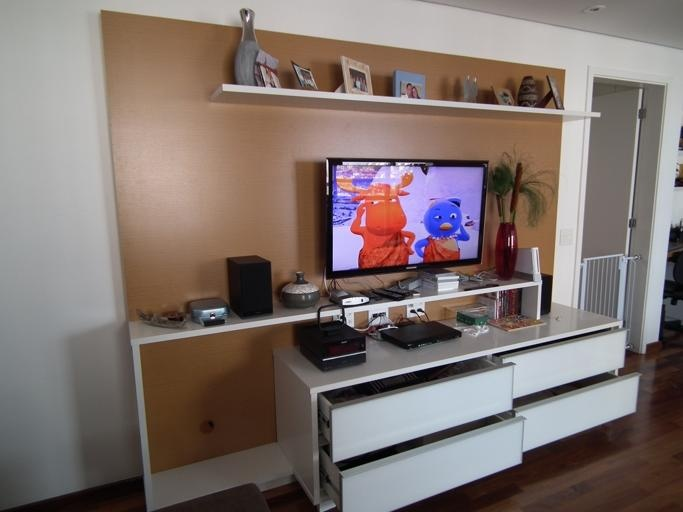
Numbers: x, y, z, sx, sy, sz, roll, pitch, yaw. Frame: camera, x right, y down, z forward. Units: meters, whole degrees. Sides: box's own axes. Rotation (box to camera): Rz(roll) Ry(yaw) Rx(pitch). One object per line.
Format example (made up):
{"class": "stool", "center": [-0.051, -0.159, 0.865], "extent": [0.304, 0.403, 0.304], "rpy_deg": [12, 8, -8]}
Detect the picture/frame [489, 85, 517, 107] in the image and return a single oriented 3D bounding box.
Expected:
{"class": "picture/frame", "center": [1.112, -1.112, 3.584], "extent": [0.221, 0.220, 0.022], "rpy_deg": [-16, 3, -40]}

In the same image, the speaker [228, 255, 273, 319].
{"class": "speaker", "center": [-0.533, 0.168, 3.005], "extent": [0.258, 0.319, 0.243], "rpy_deg": [-7, 12, -15]}

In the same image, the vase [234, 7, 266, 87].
{"class": "vase", "center": [-0.535, -1.153, 2.863], "extent": [0.148, 0.408, 0.097], "rpy_deg": [-14, 15, -41]}

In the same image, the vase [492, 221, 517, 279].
{"class": "vase", "center": [1.144, -0.041, 3.629], "extent": [0.190, 0.401, 0.124], "rpy_deg": [6, 15, 42]}

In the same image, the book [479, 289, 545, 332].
{"class": "book", "center": [1.175, 0.373, 3.605], "extent": [0.300, 0.183, 0.295], "rpy_deg": [-8, 15, -21]}

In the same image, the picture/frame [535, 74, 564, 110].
{"class": "picture/frame", "center": [1.489, -1.185, 3.717], "extent": [0.193, 0.315, 0.318], "rpy_deg": [1, 14, 36]}

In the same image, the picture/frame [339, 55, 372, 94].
{"class": "picture/frame", "center": [0.107, -1.067, 3.129], "extent": [0.021, 0.222, 0.229], "rpy_deg": [-34, 46, -26]}

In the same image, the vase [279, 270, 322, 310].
{"class": "vase", "center": [-0.248, 0.207, 3.124], "extent": [0.219, 0.171, 0.216], "rpy_deg": [-5, 9, -32]}
